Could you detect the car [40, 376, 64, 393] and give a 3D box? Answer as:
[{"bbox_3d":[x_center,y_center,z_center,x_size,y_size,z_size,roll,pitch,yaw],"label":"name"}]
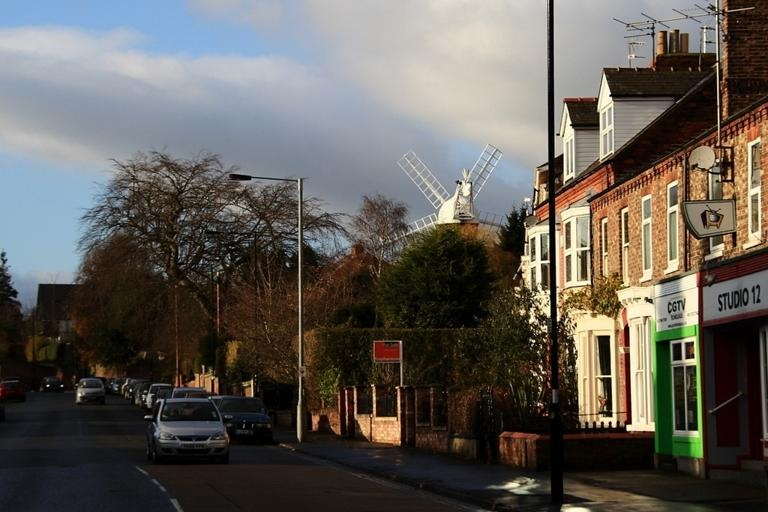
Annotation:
[{"bbox_3d":[-30.681,11.847,117.199,1.277,1.023,3.051,1,-1,-13],"label":"car"}]
